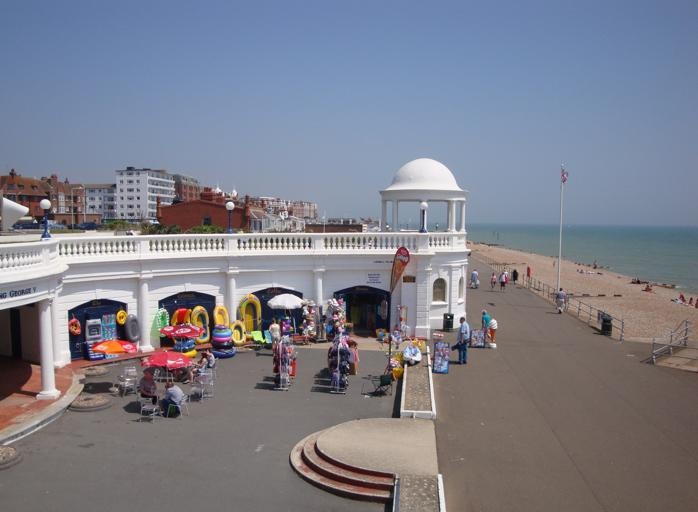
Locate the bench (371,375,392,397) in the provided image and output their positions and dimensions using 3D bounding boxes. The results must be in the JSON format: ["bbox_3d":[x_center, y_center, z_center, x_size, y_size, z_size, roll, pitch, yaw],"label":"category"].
[{"bbox_3d":[1.386,5.596,27.597,0.830,1.176,0.796,-1,6,-21],"label":"bench"}]

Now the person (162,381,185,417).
[{"bbox_3d":[-7.005,5.645,25.256,0.779,1.293,0.827,6,2,40],"label":"person"}]

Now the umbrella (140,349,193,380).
[{"bbox_3d":[-7.315,4.344,26.470,1.606,0.706,1.635,3,-2,3],"label":"umbrella"}]

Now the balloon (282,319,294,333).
[{"bbox_3d":[-3.259,3.836,33.979,0.643,0.880,1.524,2,4,-3],"label":"balloon"}]

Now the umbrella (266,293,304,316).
[{"bbox_3d":[-3.321,2.576,33.736,1.548,1.045,1.856,3,4,13],"label":"umbrella"}]

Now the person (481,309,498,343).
[{"bbox_3d":[7.559,3.865,34.519,0.717,1.718,1.274,3,3,10],"label":"person"}]

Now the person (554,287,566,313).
[{"bbox_3d":[14.748,3.250,44.489,0.621,1.383,2.528,4,4,20],"label":"person"}]

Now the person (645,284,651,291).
[{"bbox_3d":[33.114,3.699,70.871,0.953,0.522,1.392,0,5,24],"label":"person"}]

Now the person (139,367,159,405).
[{"bbox_3d":[-7.955,5.195,25.513,0.827,1.419,0.480,4,4,30],"label":"person"}]

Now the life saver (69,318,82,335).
[{"bbox_3d":[-12.950,3.370,30.159,0.236,0.708,0.486,-5,0,38],"label":"life saver"}]

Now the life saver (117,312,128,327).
[{"bbox_3d":[-11.137,3.090,31.293,0.493,0.790,0.242,2,3,-12],"label":"life saver"}]
